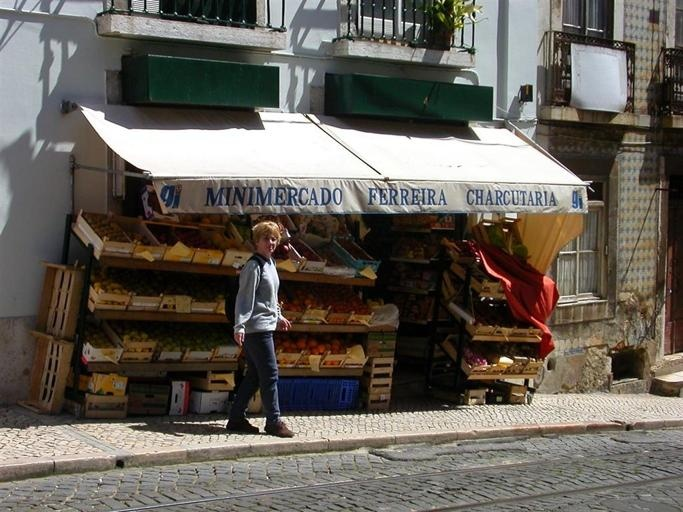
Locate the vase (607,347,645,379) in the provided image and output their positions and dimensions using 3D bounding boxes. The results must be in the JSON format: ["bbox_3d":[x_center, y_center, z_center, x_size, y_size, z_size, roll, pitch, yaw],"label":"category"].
[{"bbox_3d":[5.724,2.150,17.538,0.668,0.538,0.251,3,3,-14],"label":"vase"}]

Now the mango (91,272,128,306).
[{"bbox_3d":[-2.836,0.434,10.788,0.484,0.389,0.386,3,3,-15],"label":"mango"}]

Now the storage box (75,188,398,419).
[{"bbox_3d":[-1.489,0.663,11.179,4.541,3.049,0.927,1,-1,-12],"label":"storage box"}]

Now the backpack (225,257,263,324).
[{"bbox_3d":[-1.115,0.451,10.305,0.500,0.950,0.495,-4,9,-37],"label":"backpack"}]

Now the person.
[{"bbox_3d":[-1.148,0.820,10.234,1.094,2.229,0.748,0,-1,24],"label":"person"}]
